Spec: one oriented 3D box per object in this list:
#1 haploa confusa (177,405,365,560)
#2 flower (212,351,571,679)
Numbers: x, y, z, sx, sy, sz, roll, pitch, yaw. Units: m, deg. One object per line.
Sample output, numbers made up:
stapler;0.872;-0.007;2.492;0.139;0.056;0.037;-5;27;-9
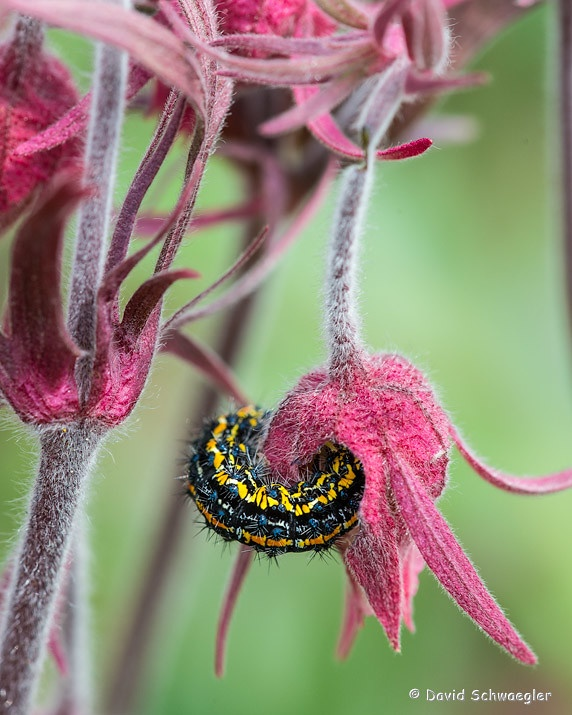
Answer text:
haploa confusa;0.000;0.124;0.630;0.101;0.043;0.115;26;-50;-29
flower;0.115;0.113;0.670;0.283;0.157;0.277;7;-14;-40
